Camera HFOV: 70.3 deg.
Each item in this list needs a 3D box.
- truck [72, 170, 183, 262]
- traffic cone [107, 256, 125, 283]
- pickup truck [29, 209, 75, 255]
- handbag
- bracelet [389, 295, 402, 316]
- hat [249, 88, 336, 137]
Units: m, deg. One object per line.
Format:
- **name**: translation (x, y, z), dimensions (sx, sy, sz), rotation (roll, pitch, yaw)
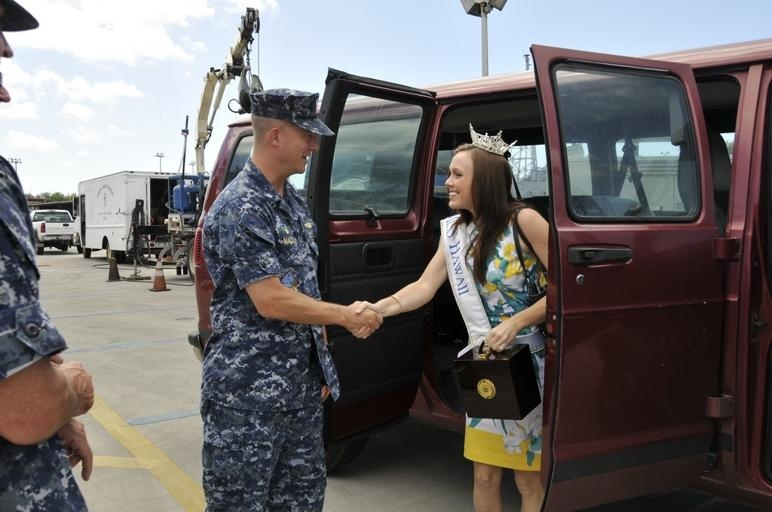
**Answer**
- **truck**: translation (-7.989, -1.271, 17.369), dimensions (3.007, 2.822, 5.204), rotation (-2, 6, -35)
- **traffic cone**: translation (-7.694, 0.383, 15.704), dimensions (0.510, 0.791, 0.506), rotation (-2, 8, -1)
- **pickup truck**: translation (-13.879, -1.080, 23.077), dimensions (1.892, 1.692, 3.530), rotation (-3, 9, -36)
- **handbag**: translation (0.698, 0.001, 2.668), dimensions (0.168, 0.467, 0.056), rotation (-2, 3, -20)
- **bracelet**: translation (0.062, 0.251, 2.845), dimensions (0.020, 0.069, 0.072), rotation (-8, 8, -9)
- **hat**: translation (-0.399, -0.645, 2.359), dimensions (0.403, 0.153, 0.300), rotation (14, 20, 9)
